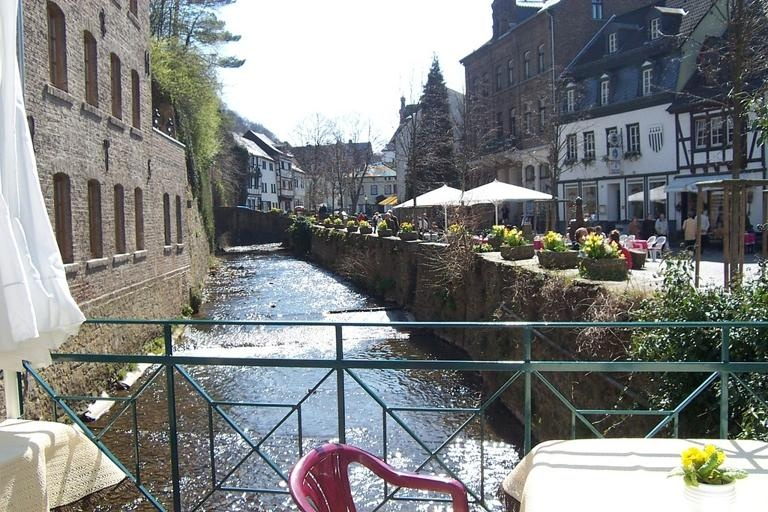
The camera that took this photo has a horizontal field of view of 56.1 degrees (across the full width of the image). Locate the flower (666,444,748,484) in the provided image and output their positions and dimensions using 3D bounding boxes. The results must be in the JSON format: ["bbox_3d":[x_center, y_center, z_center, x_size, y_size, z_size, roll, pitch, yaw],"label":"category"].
[{"bbox_3d":[2.771,1.829,6.232,0.416,0.194,0.426,-2,7,-22],"label":"flower"}]

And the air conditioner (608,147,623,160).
[{"bbox_3d":[10.326,-4.640,32.385,0.751,0.586,0.567,5,10,43],"label":"air conditioner"}]

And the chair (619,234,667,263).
[{"bbox_3d":[7.402,-0.228,20.629,0.924,0.604,1.318,-3,2,-33],"label":"chair"}]
